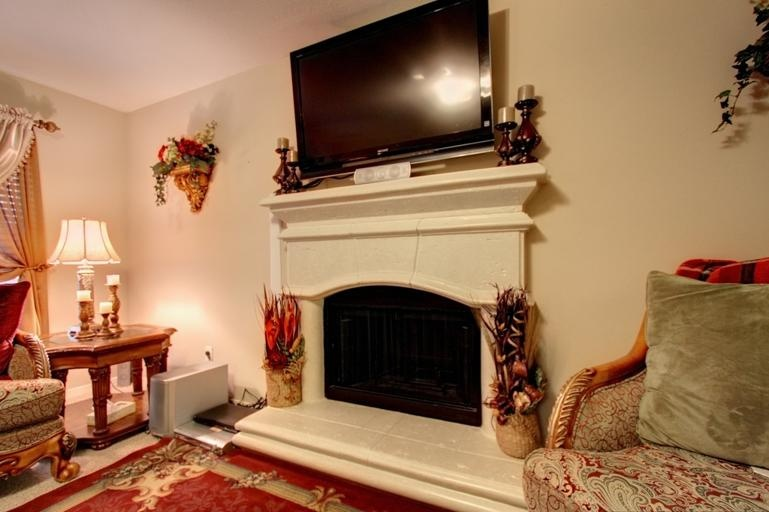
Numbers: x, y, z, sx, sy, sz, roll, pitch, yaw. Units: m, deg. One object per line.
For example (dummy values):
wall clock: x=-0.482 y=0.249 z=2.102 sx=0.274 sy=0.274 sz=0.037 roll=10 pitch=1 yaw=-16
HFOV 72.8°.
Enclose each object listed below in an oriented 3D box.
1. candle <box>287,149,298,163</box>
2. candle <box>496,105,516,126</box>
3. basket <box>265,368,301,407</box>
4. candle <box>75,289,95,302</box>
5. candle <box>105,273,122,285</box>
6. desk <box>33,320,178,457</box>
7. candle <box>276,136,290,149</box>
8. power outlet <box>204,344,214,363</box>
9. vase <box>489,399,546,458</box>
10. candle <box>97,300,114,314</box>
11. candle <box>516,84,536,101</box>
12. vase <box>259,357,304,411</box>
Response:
candle: x=-0.690 y=-0.761 z=3.978 sx=0.088 sy=0.098 sz=0.088 roll=-1 pitch=0 yaw=8
candle: x=0.781 y=-0.937 z=3.479 sx=0.133 sy=0.123 sz=0.133 roll=-2 pitch=12 yaw=-8
basket: x=-0.763 y=0.967 z=3.933 sx=0.282 sy=0.265 sz=0.267 roll=1 pitch=-4 yaw=-31
candle: x=-2.367 y=0.311 z=4.132 sx=0.106 sy=0.075 sz=0.107 roll=-6 pitch=-7 yaw=44
candle: x=-2.337 y=0.194 z=4.490 sx=0.109 sy=0.119 sz=0.108 roll=0 pitch=-5 yaw=2
desk: x=-2.127 y=0.980 z=4.097 sx=0.904 sy=0.661 sz=0.824 roll=-1 pitch=1 yaw=-44
candle: x=-0.789 y=-0.882 z=4.076 sx=0.084 sy=0.124 sz=0.217 roll=-4 pitch=3 yaw=-5
power outlet: x=-1.528 y=0.833 z=4.527 sx=0.111 sy=0.125 sz=0.044 roll=0 pitch=5 yaw=38
vase: x=0.858 y=1.099 z=3.361 sx=0.310 sy=0.298 sz=0.309 roll=-1 pitch=0 yaw=24
candle: x=-2.246 y=0.414 z=4.229 sx=0.123 sy=0.136 sz=0.122 roll=5 pitch=-9 yaw=-37
candle: x=0.926 y=-1.058 z=3.439 sx=0.128 sy=0.120 sz=0.111 roll=1 pitch=5 yaw=27
vase: x=-0.755 y=0.950 z=3.904 sx=0.333 sy=0.378 sz=0.333 roll=-1 pitch=-4 yaw=-2
